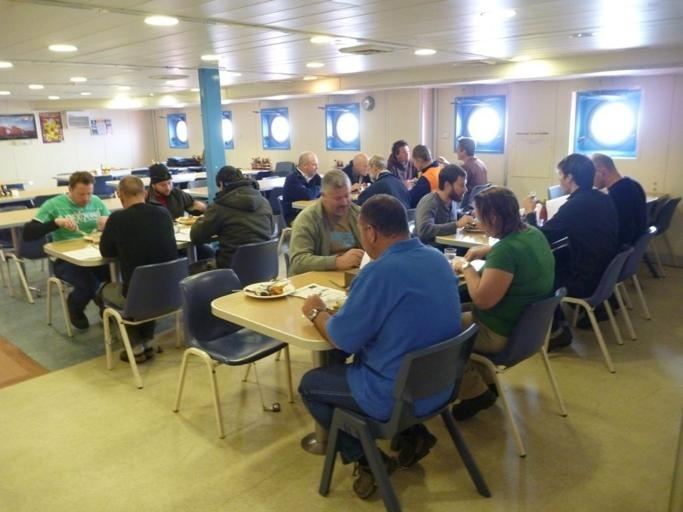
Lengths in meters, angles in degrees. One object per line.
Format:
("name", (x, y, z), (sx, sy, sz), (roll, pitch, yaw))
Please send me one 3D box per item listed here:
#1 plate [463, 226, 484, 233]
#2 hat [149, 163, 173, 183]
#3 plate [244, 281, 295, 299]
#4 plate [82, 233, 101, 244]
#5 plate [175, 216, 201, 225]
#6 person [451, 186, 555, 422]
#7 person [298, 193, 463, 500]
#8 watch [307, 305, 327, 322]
("plate", (1.196, -0.249, 4.688), (0.124, 0.022, 0.083), (-4, 20, -16))
("hat", (-1.960, -0.871, 5.469), (0.211, 0.175, 0.205), (-8, 24, 19))
("plate", (-0.456, 0.206, 3.256), (0.325, 0.067, 0.245), (-4, 13, -13))
("plate", (-2.303, -0.176, 4.756), (0.167, 0.046, 0.172), (9, 12, 24))
("plate", (-1.591, -0.373, 5.290), (0.243, 0.044, 0.185), (4, 12, 34))
("person", (0.986, 0.356, 3.318), (0.596, 1.594, 0.523), (11, 18, 42))
("person", (0.174, 0.353, 2.675), (0.863, 1.312, 0.406), (2, 13, 13))
("watch", (-0.142, 0.305, 2.820), (0.063, 0.095, 0.100), (15, 32, 33))
